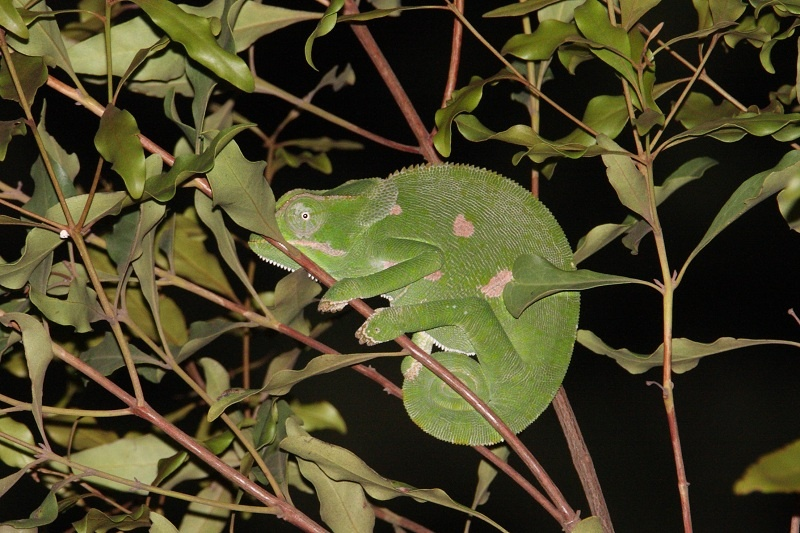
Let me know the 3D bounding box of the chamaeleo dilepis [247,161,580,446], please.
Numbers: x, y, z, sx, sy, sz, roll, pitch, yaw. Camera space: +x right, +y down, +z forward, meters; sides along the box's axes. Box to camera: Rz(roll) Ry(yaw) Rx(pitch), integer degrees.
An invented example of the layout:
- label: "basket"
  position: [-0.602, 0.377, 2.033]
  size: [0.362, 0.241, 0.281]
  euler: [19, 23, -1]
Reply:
- label: "chamaeleo dilepis"
  position: [0.092, 0.021, 2.191]
  size: [0.793, 0.235, 0.620]
  euler: [41, 50, 12]
